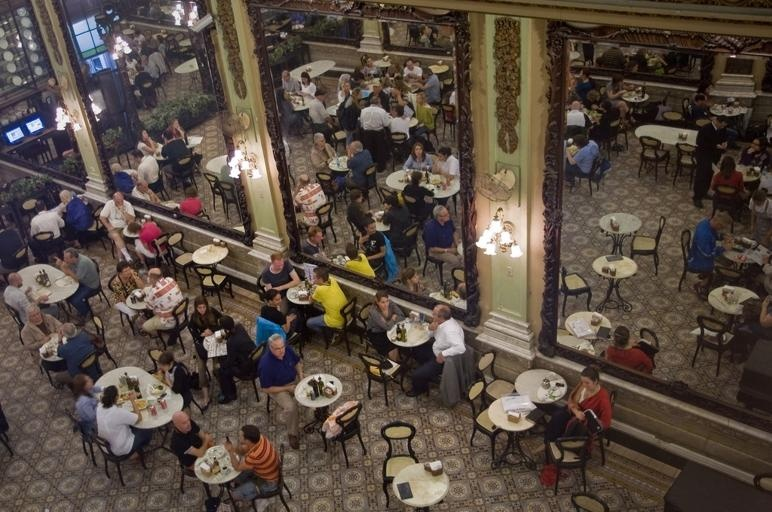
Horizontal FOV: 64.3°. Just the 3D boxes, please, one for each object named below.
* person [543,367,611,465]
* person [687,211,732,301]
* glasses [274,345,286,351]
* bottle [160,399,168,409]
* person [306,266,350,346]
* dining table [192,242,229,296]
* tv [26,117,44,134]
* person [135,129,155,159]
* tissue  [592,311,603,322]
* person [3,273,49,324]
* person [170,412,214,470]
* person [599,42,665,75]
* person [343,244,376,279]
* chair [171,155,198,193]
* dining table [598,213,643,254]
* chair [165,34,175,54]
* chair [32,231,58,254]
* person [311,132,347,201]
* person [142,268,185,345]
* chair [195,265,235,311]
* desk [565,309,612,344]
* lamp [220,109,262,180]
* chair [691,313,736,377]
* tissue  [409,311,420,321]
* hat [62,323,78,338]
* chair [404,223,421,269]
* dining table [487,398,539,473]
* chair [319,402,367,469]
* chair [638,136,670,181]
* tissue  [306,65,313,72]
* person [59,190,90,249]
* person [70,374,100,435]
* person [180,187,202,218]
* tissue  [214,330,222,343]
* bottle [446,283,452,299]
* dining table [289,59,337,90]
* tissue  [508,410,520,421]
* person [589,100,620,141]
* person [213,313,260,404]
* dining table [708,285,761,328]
[{"bbox_3d":[3.264,2.780,10.526,1.071,1.974,0.923,-9,30,-4],"label":"person"},{"bbox_3d":[6.561,-0.042,12.351,0.840,1.731,0.711,-11,20,-1],"label":"person"},{"bbox_3d":[-1.908,1.667,11.139,0.075,0.055,0.101,-16,19,-32],"label":"glasses"},{"bbox_3d":[-4.105,2.727,11.365,0.097,0.172,0.095,1,32,-1],"label":"bottle"},{"bbox_3d":[-1.231,1.039,12.922,0.867,1.659,0.955,-17,21,-35],"label":"person"},{"bbox_3d":[-4.086,0.307,14.433,0.699,0.887,0.717,15,56,10],"label":"dining table"},{"bbox_3d":[-10.871,-4.068,19.000,0.224,0.298,0.424,17,38,21],"label":"tv"},{"bbox_3d":[-6.126,-2.906,15.699,0.405,0.716,0.333,-13,49,-3],"label":"person"},{"bbox_3d":[3.982,1.143,11.496,0.126,0.200,0.210,10,72,33],"label":"tissue "},{"bbox_3d":[-7.879,0.897,13.534,0.467,1.024,0.593,35,60,3],"label":"person"},{"bbox_3d":[-3.417,3.267,10.775,0.667,1.085,0.627,5,60,7],"label":"person"},{"bbox_3d":[6.311,-5.064,15.774,1.732,0.579,0.419,11,36,17],"label":"person"},{"bbox_3d":[-0.513,0.058,12.863,0.738,0.608,0.347,15,37,22],"label":"person"},{"bbox_3d":[-5.006,-2.106,15.367,0.503,0.875,0.640,-12,67,-14],"label":"chair"},{"bbox_3d":[4.886,-0.448,12.795,0.487,0.648,0.489,-14,44,1],"label":"dining table"},{"bbox_3d":[-5.084,-5.050,14.591,0.310,0.338,0.475,-1,-3,-5],"label":"chair"},{"bbox_3d":[-8.561,-0.348,15.520,0.435,0.717,0.517,-4,78,-25],"label":"chair"},{"bbox_3d":[-1.284,-2.120,14.495,0.878,1.566,0.659,-3,31,5],"label":"person"},{"bbox_3d":[-4.838,1.100,13.360,0.936,1.726,0.825,14,24,25],"label":"person"},{"bbox_3d":[-3.916,0.748,14.098,0.548,0.955,0.647,13,58,2],"label":"chair"},{"bbox_3d":[3.768,1.246,11.463,0.828,0.230,0.639,0,35,2],"label":"desk"},{"bbox_3d":[-3.163,-2.365,13.291,0.997,1.400,0.494,27,44,35],"label":"lamp"},{"bbox_3d":[6.060,1.508,11.411,0.653,0.801,1.066,16,38,24],"label":"chair"},{"bbox_3d":[0.579,1.169,12.141,0.133,0.129,0.063,21,42,27],"label":"tissue "},{"bbox_3d":[-6.297,1.470,12.217,0.173,0.231,0.234,-19,74,-36],"label":"hat"},{"bbox_3d":[0.526,-0.191,12.761,0.375,0.741,0.625,-2,34,-1],"label":"chair"},{"bbox_3d":[2.225,3.100,10.855,0.837,1.043,0.711,1,34,4],"label":"dining table"},{"bbox_3d":[-0.789,3.288,11.158,0.665,1.048,0.601,-26,54,-22],"label":"chair"},{"bbox_3d":[6.315,-2.271,14.457,0.550,0.931,0.657,20,62,32],"label":"chair"},{"bbox_3d":[-1.766,-4.346,14.189,0.114,0.112,0.107,-4,2,-5],"label":"tissue "},{"bbox_3d":[-8.090,-0.962,16.016,0.798,1.496,0.644,9,26,17],"label":"person"},{"bbox_3d":[-5.541,2.746,11.329,0.468,1.209,0.508,-33,75,-31],"label":"person"},{"bbox_3d":[-4.766,-1.316,15.100,0.458,0.902,0.476,-10,49,-7],"label":"person"},{"bbox_3d":[-3.306,1.602,12.263,0.121,0.212,0.202,1,0,-6],"label":"tissue "},{"bbox_3d":[1.226,0.671,12.061,0.147,0.180,0.268,0,35,2],"label":"bottle"},{"bbox_3d":[-1.591,-4.220,14.278,1.296,0.574,0.306,-22,24,-21],"label":"dining table"},{"bbox_3d":[2.209,2.716,10.514,0.170,0.119,0.124,17,46,30],"label":"tissue "},{"bbox_3d":[5.165,-3.125,14.431,0.663,0.905,0.722,11,36,17],"label":"person"},{"bbox_3d":[-3.030,2.001,12.164,1.032,1.835,0.746,14,24,19],"label":"person"},{"bbox_3d":[6.491,0.827,11.565,0.685,0.473,0.702,21,59,30],"label":"dining table"}]
